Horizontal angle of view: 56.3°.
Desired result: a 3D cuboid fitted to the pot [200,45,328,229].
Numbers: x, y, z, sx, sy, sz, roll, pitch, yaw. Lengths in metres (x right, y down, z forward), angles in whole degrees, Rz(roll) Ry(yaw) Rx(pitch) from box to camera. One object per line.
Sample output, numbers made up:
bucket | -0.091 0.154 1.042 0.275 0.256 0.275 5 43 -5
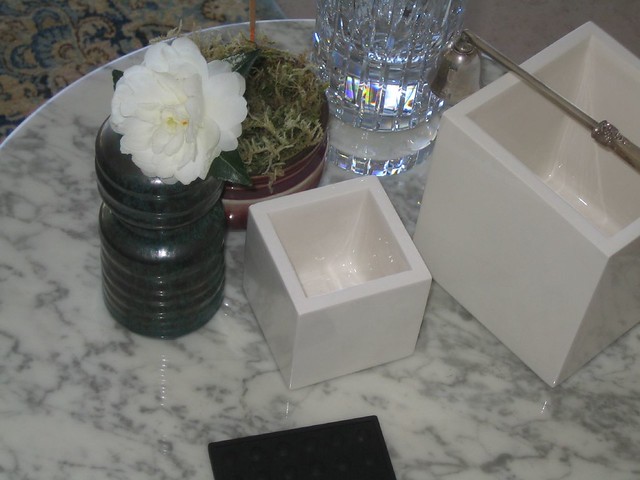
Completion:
pot | -0.065 -0.127 0.744 0.170 0.117 0.211 9 63 -2

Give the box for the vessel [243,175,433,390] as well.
vessel | 0.012 0.047 0.658 0.170 0.135 0.158 -13 55 -14

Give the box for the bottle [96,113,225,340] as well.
bottle | -0.168 -0.032 0.644 0.142 0.248 0.155 8 46 -9
